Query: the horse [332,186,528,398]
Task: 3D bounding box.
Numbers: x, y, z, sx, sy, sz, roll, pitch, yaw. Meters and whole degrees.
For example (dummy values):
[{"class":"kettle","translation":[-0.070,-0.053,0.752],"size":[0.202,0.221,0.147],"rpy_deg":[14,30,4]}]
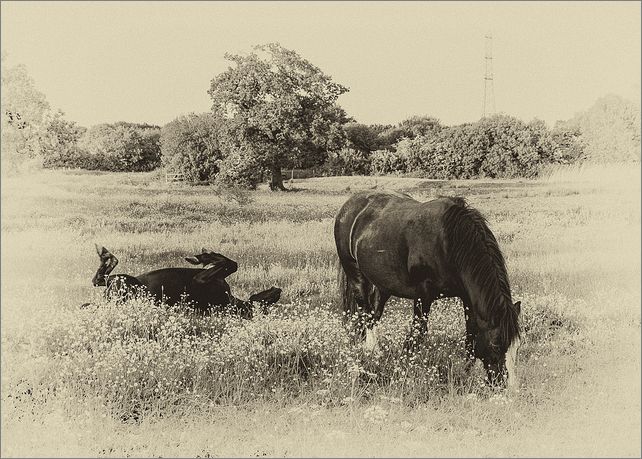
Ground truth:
[{"class":"horse","translation":[1.438,0.680,11.131],"size":[0.563,2.252,2.902],"rpy_deg":[-6,10,-43]}]
